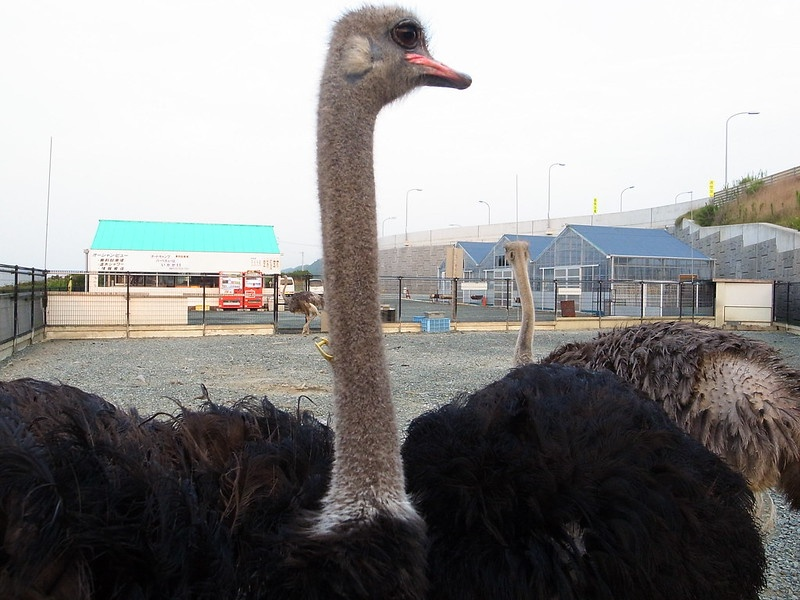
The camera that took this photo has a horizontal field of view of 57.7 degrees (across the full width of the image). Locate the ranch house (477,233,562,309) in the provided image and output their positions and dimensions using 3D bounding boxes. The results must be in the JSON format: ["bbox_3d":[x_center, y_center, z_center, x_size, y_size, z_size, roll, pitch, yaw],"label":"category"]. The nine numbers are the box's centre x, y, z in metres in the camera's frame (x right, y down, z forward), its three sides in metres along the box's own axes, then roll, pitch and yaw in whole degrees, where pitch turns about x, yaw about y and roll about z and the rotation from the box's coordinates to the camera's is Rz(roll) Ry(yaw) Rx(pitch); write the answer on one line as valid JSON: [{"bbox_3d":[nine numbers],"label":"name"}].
[{"bbox_3d":[6.250,-1.605,38.810,2.770,3.404,5.560,16,6,13],"label":"ranch house"}]
